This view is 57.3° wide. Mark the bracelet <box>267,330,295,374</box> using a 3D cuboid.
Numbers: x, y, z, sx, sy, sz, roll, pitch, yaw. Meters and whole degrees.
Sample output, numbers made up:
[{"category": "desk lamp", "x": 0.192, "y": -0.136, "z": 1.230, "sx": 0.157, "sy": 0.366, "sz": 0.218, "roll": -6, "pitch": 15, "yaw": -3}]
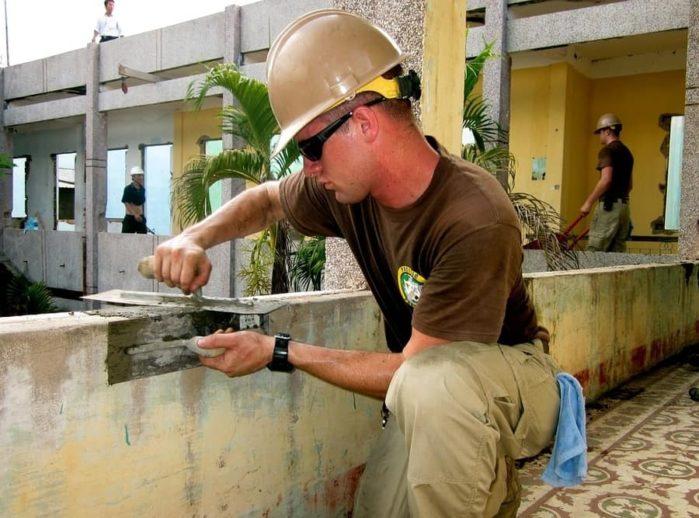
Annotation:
[{"category": "bracelet", "x": -0.257, "y": 0.358, "z": 2.498, "sx": 0.097, "sy": 0.141, "sz": 0.128, "roll": 5, "pitch": 20, "yaw": 2}]

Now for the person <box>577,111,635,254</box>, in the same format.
[{"category": "person", "x": 2.835, "y": -0.862, "z": 7.032, "sx": 0.481, "sy": 1.575, "sz": 0.861, "roll": 1, "pitch": 1, "yaw": 23}]

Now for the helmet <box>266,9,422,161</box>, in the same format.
[{"category": "helmet", "x": -0.080, "y": -0.715, "z": 2.556, "sx": 0.547, "sy": 0.374, "sz": 0.449, "roll": -34, "pitch": 10, "yaw": -11}]

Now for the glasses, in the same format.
[{"category": "glasses", "x": -0.030, "y": -0.461, "z": 2.443, "sx": 0.271, "sy": 0.076, "sz": 0.239, "roll": -41, "pitch": -2, "yaw": 11}]
